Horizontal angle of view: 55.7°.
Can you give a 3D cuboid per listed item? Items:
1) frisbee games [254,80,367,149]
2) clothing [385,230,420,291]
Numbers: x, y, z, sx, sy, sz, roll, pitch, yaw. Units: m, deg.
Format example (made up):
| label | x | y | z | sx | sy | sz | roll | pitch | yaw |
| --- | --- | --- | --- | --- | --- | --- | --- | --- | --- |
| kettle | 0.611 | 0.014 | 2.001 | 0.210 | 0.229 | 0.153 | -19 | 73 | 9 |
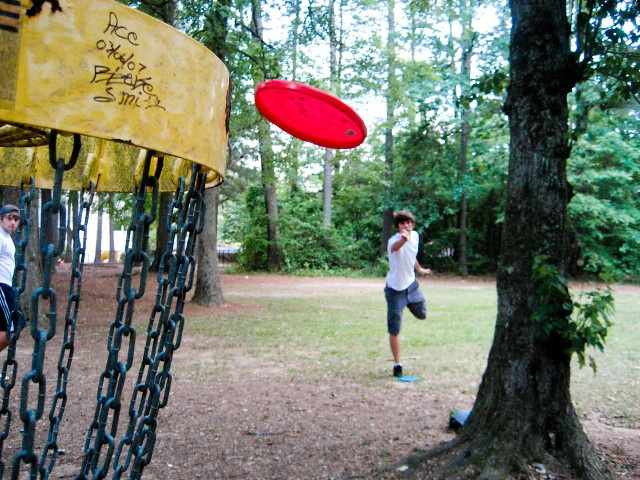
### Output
| label | x | y | z | sx | sy | sz | roll | pitch | yaw |
| --- | --- | --- | --- | --- | --- | --- | --- | --- | --- |
| frisbee games | -0.088 | -1.201 | 5.809 | 1.051 | 0.433 | 1.536 | 0 | 1 | 2 |
| clothing | 0.853 | 0.217 | 6.420 | 0.311 | 0.623 | 0.538 | 1 | 2 | 18 |
